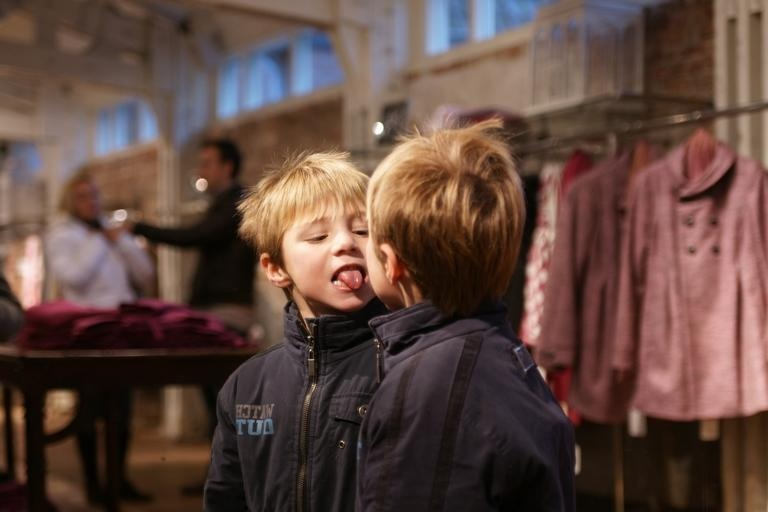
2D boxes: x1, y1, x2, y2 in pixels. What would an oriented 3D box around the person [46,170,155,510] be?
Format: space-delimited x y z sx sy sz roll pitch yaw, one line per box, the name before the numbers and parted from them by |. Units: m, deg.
person | -0.925 0.254 2.863 0.344 1.166 0.300 3 -17 -6
